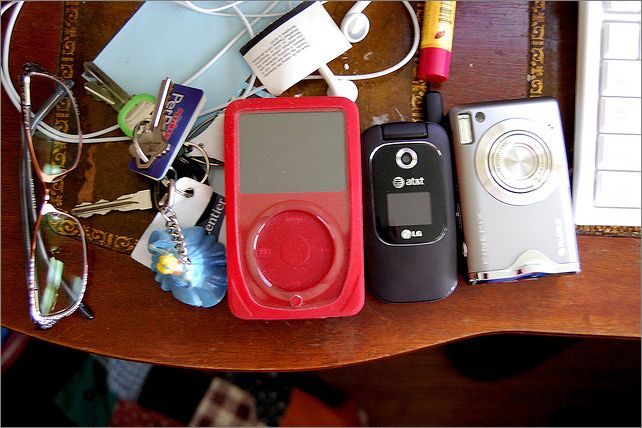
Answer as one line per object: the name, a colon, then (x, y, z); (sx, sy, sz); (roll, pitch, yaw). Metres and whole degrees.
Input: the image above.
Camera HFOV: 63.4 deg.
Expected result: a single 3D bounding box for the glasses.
glasses: (-0.426, -0.022, 0.808); (0.043, 0.095, 0.434); (7, 98, -3)
